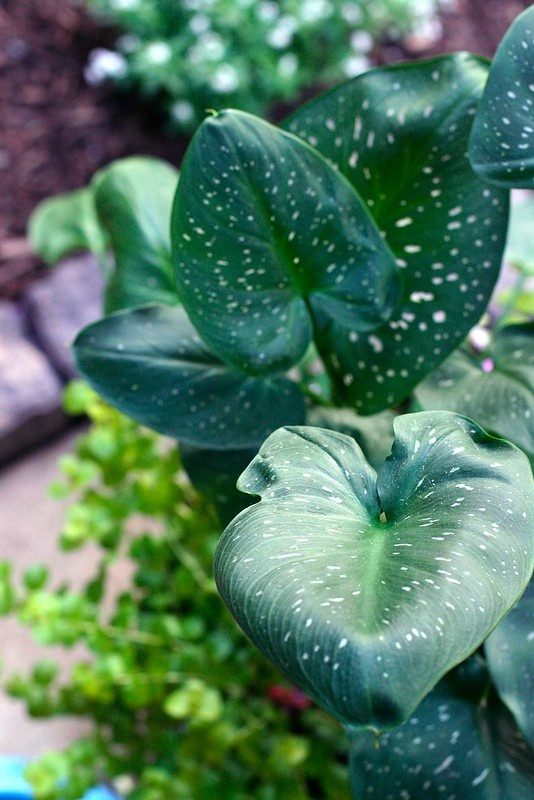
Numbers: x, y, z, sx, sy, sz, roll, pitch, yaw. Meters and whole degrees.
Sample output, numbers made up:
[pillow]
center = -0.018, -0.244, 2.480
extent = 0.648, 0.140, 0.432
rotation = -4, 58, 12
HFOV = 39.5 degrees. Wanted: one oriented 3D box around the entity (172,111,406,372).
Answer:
[entity]
center = 0.014, -0.101, 0.534
extent = 0.155, 0.231, 0.050
rotation = -10, 42, 6
